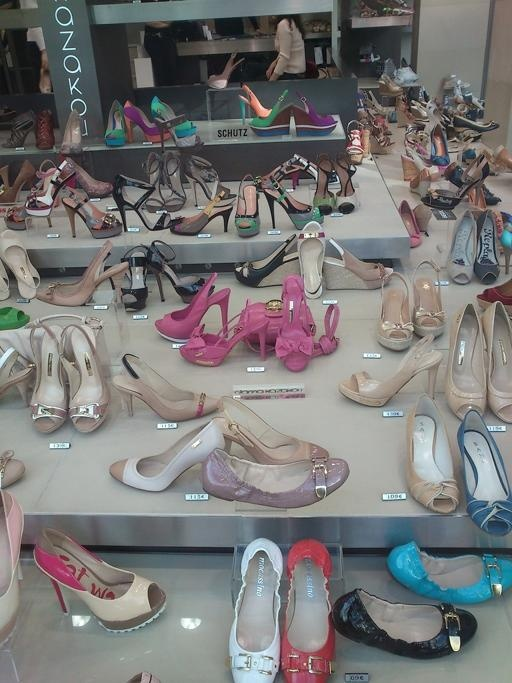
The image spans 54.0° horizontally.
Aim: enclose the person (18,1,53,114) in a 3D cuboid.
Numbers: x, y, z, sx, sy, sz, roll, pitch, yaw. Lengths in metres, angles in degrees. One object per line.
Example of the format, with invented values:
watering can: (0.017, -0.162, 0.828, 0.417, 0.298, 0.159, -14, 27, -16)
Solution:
person: (-1.871, -2.383, 4.311, 0.168, 0.868, 0.106, -3, 29, 9)
